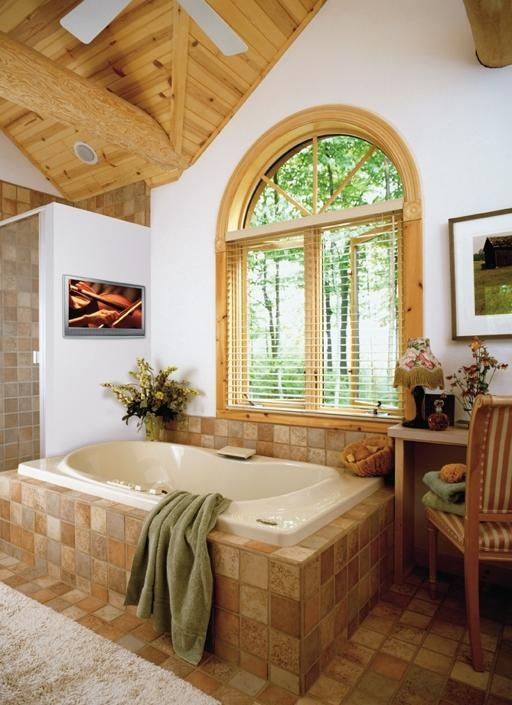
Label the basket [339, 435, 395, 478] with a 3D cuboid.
[{"bbox_3d":[0.563,0.541,2.770,0.262,0.202,0.192,0,2,15],"label":"basket"}]

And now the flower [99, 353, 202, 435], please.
[{"bbox_3d":[-0.762,0.343,3.766,0.540,0.564,0.508,1,2,42],"label":"flower"}]

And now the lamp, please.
[{"bbox_3d":[0.781,0.150,2.632,0.221,0.417,0.299,0,2,15],"label":"lamp"}]
